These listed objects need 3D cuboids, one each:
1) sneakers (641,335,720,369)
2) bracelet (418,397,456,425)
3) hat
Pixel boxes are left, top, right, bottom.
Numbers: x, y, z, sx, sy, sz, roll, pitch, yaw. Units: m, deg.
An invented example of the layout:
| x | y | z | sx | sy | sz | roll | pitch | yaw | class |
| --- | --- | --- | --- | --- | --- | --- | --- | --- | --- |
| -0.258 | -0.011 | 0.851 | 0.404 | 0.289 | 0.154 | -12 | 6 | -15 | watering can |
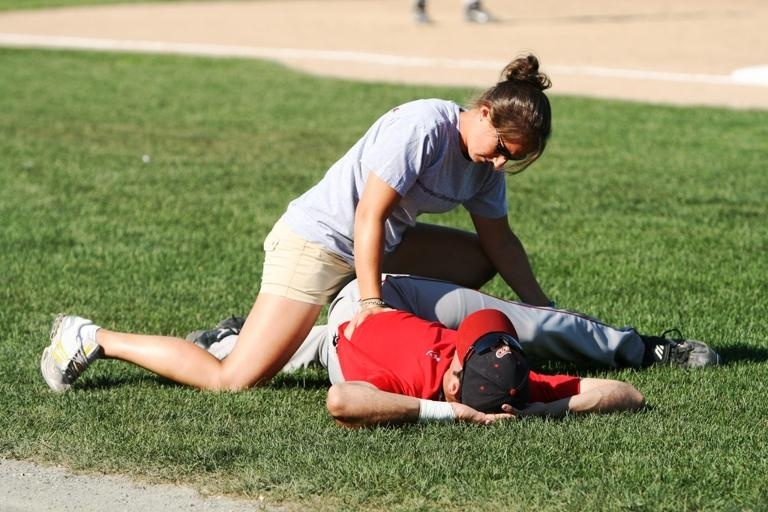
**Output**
| x | y | z | sx | sy | sz | roll | pitch | yaw | class |
| --- | --- | --- | --- | --- | --- | --- | --- | --- | --- |
| 2.218 | 0.745 | 7.834 | 0.651 | 0.228 | 0.254 | 0 | -31 | 9 | sneakers |
| 0.359 | 1.052 | 6.878 | 0.221 | 0.090 | 0.135 | 5 | -12 | 0 | bracelet |
| 0.719 | 0.687 | 6.972 | 0.445 | 0.668 | 0.395 | 0 | 9 | -19 | hat |
